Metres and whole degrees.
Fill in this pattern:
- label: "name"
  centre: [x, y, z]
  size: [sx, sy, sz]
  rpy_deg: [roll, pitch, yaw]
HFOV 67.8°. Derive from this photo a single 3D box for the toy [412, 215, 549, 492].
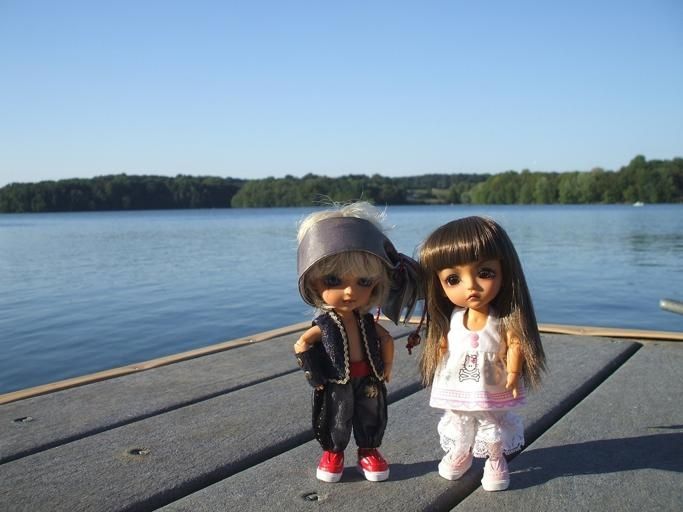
- label: "toy"
  centre: [0.720, 0.479, 2.758]
  size: [0.730, 1.388, 0.528]
  rpy_deg: [3, 7, 22]
